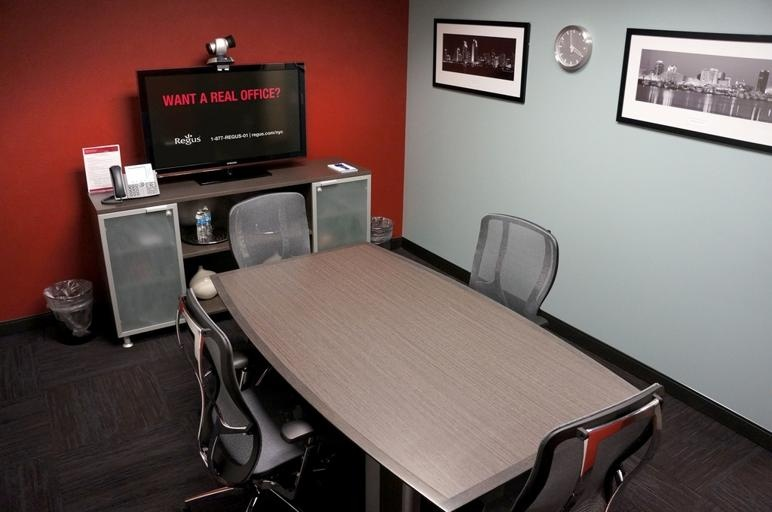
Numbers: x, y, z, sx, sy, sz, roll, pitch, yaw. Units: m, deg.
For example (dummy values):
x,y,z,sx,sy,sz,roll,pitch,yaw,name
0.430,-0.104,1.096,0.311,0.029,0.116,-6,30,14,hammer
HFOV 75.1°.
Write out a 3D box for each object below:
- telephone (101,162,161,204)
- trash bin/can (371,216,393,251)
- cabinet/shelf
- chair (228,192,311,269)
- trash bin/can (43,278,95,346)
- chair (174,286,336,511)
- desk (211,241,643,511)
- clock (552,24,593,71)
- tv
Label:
x,y,z,sx,sy,sz,roll,pitch,yaw,name
-2.171,-0.629,4.238,0.420,0.273,0.226,-17,39,-39,telephone
-0.050,-0.259,5.787,0.267,0.152,0.353,-9,24,-22,trash bin/can
-1.470,-0.130,5.111,2.604,1.284,0.900,-15,26,-34,cabinet/shelf
-0.924,-0.303,4.247,0.588,0.800,0.639,-14,34,-23,chair
-2.835,0.460,4.538,0.360,0.402,0.370,-19,34,-39,trash bin/can
-0.781,0.908,3.081,0.694,1.161,0.788,-16,41,-24,chair
0.240,0.624,2.823,1.353,0.492,2.142,-15,34,-32,desk
1.544,-1.713,4.106,0.084,0.425,0.384,-9,15,-35,clock
-1.557,-1.236,4.590,1.165,0.779,0.269,-13,28,-24,tv
